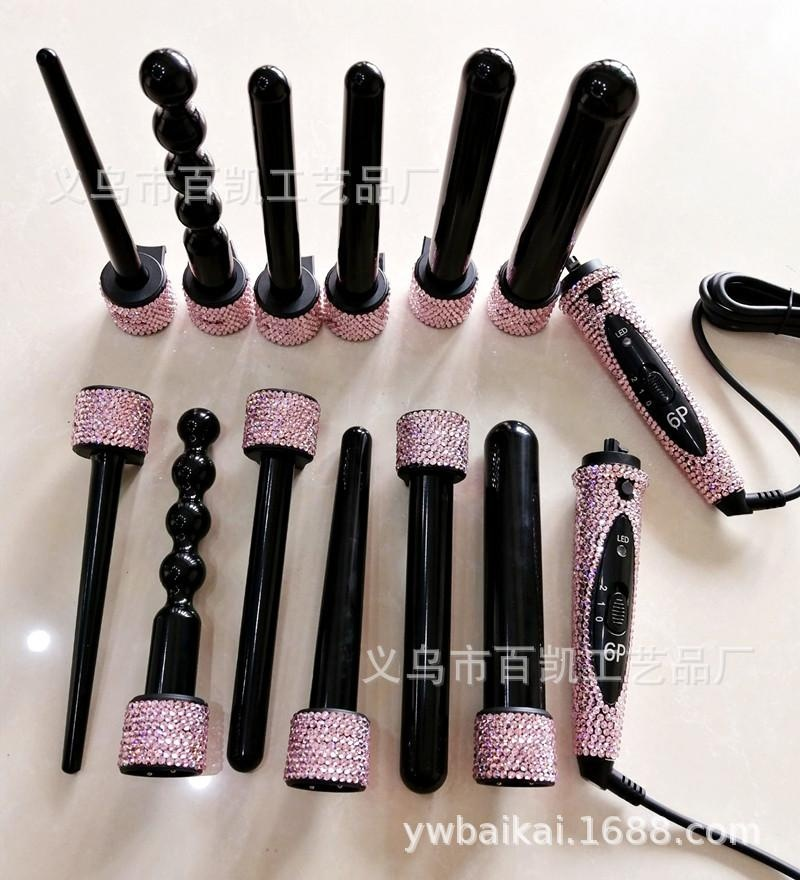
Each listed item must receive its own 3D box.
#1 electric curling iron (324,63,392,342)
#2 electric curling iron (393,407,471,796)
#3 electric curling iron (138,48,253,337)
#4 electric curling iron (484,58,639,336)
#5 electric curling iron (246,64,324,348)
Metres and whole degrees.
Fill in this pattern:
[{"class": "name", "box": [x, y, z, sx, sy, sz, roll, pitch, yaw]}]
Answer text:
[{"class": "electric curling iron", "box": [-0.036, -0.226, 0.873, 0.072, 0.309, 0.071, 2, 52, -5]}, {"class": "electric curling iron", "box": [0.027, 0.150, 0.842, 0.065, 0.070, 0.354, -4, 76, 24]}, {"class": "electric curling iron", "box": [-0.192, -0.231, 0.865, 0.084, 0.320, 0.061, -11, 54, -15]}, {"class": "electric curling iron", "box": [0.149, -0.222, 0.868, 0.082, 0.331, 0.085, 11, 52, 2]}, {"class": "electric curling iron", "box": [-0.111, -0.227, 0.876, 0.073, 0.304, 0.086, -4, 53, -10]}]
